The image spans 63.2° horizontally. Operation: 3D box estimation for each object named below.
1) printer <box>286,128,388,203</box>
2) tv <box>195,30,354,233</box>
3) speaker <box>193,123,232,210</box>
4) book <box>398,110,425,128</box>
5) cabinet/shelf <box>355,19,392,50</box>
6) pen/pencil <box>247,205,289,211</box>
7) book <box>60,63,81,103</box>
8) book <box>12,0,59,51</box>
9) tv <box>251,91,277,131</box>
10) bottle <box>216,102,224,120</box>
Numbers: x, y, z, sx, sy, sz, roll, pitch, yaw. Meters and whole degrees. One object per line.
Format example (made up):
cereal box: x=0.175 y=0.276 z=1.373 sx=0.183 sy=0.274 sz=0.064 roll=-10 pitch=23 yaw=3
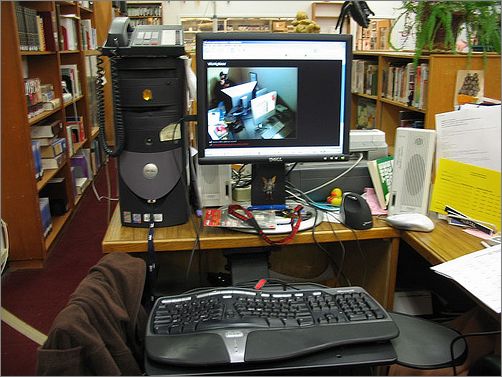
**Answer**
printer: x=0.381 y=-0.104 z=1.945 sx=0.557 sy=0.396 sz=0.291 roll=-2 pitch=20 yaw=-6
tv: x=0.075 y=-0.222 z=1.572 sx=0.771 sy=0.906 sz=0.305 roll=-1 pitch=16 yaw=-6
speaker: x=-0.193 y=-0.134 z=1.855 sx=0.184 sy=0.343 sz=0.347 roll=-3 pitch=20 yaw=-8
book: x=1.502 y=-0.649 z=3.827 sx=0.217 sy=0.060 sz=0.218 roll=11 pitch=34 yaw=24
cabinet/shelf: x=2.087 y=-2.559 z=6.913 sx=0.553 sy=0.528 sz=0.411 roll=1 pitch=7 yaw=4
pen/pencil: x=0.068 y=0.079 z=1.663 sx=0.142 sy=0.021 sz=0.022 roll=-1 pitch=0 yaw=-1
book: x=-1.893 y=-1.156 z=4.384 sx=0.088 sy=0.379 sz=0.347 roll=3 pitch=10 yaw=9
book: x=-1.773 y=-1.319 z=3.393 sx=0.204 sy=0.333 sz=0.671 roll=-6 pitch=20 yaw=-15
tv: x=0.045 y=-0.309 z=1.542 sx=0.108 sy=0.104 sz=0.038 roll=-31 pitch=51 yaw=-23
bottle: x=-0.118 y=-0.291 z=1.518 sx=0.036 sy=0.064 sz=0.036 roll=0 pitch=24 yaw=0
